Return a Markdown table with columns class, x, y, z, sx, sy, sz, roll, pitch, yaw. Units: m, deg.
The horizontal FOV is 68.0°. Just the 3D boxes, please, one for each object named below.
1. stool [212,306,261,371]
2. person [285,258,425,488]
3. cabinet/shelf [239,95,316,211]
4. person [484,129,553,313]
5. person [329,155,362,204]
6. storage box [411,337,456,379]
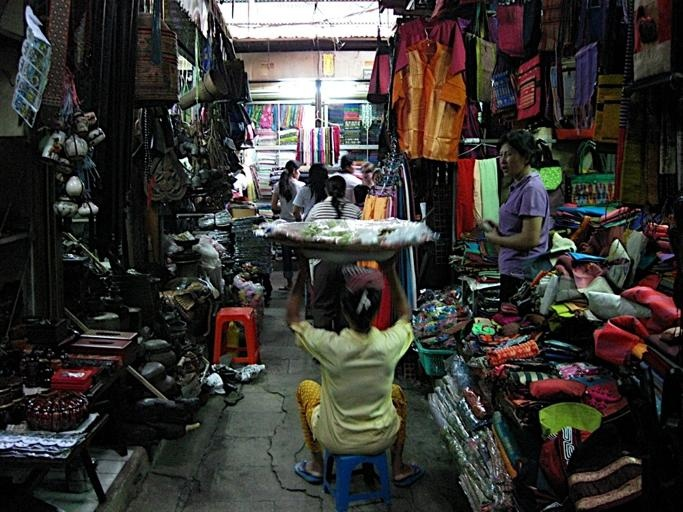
| class | x | y | z | sx | sy | sz | roll | pitch | yaw |
| --- | --- | --- | --- | --- | --- | --- | --- | --- | --- |
| stool | -1.097 | 0.850 | 5.474 | 0.516 | 0.736 | 0.506 | 1 | 7 | -3 |
| person | 0.063 | 0.757 | 3.061 | 0.825 | 1.575 | 0.800 | 1 | 7 | 9 |
| cabinet/shelf | -1.220 | -2.576 | 12.676 | 1.972 | 4.022 | 2.067 | 0 | 0 | -1 |
| person | 1.238 | -0.249 | 3.600 | 0.441 | 1.257 | 0.424 | 3 | 8 | 24 |
| person | 0.043 | -0.993 | 6.971 | 0.288 | 1.030 | 0.359 | -9 | 42 | -11 |
| storage box | 0.749 | 0.846 | 4.229 | 0.228 | 0.161 | 0.333 | 1 | 2 | -1 |
